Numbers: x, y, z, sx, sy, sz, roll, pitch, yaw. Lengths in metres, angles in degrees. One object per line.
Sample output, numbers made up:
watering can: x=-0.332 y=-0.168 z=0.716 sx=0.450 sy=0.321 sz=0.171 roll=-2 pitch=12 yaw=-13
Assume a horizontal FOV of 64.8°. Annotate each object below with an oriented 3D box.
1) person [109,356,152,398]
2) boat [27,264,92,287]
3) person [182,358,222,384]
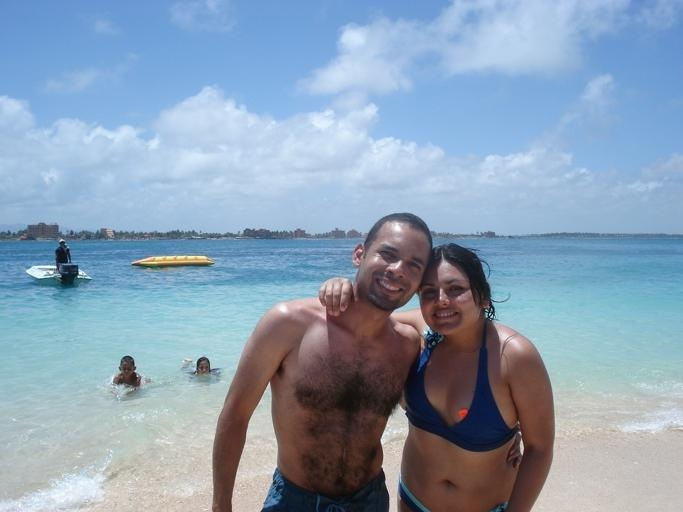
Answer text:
person: x=-4.789 y=2.655 z=12.142 sx=0.523 sy=0.616 sz=1.244 roll=4 pitch=15 yaw=-13
boat: x=-15.546 y=0.901 z=29.005 sx=3.789 sy=1.205 sz=1.437 roll=6 pitch=11 yaw=41
person: x=-3.391 y=2.766 z=13.022 sx=0.574 sy=0.396 sz=0.938 roll=7 pitch=-7 yaw=-28
